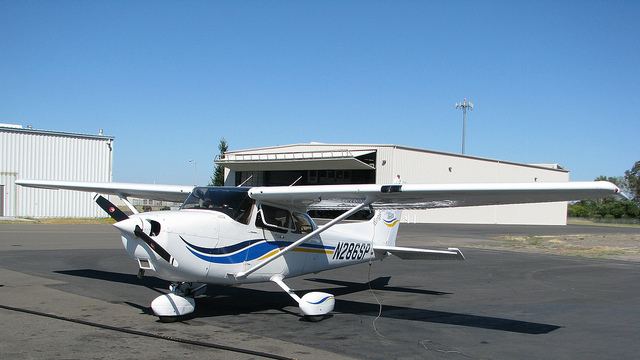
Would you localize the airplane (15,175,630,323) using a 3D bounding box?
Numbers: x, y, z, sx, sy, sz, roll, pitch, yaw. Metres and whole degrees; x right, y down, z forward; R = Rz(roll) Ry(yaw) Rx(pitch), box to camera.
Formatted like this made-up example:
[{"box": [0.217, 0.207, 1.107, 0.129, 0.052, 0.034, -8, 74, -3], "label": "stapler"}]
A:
[{"box": [-0.303, 1.656, 11.010, 9.069, 2.618, 3.931, 2, 1, 2], "label": "airplane"}]

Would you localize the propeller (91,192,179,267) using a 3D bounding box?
[{"box": [-3.472, 1.181, 9.767, 2.597, 0.305, 1.565, 24, 7, 29], "label": "propeller"}]
